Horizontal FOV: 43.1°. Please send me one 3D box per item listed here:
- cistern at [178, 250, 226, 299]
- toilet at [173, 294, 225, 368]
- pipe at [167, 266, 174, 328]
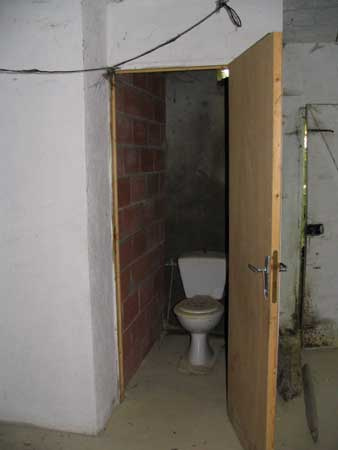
[{"bbox_3d":[0.283,0.333,3.369,0.409,0.564,0.266,0,1,10],"label":"cistern"},{"bbox_3d":[0.229,0.748,3.057,0.273,0.416,0.359,6,11,8],"label":"toilet"},{"bbox_3d":[0.011,0.595,3.502,0.073,0.522,0.033,1,8,28],"label":"pipe"}]
